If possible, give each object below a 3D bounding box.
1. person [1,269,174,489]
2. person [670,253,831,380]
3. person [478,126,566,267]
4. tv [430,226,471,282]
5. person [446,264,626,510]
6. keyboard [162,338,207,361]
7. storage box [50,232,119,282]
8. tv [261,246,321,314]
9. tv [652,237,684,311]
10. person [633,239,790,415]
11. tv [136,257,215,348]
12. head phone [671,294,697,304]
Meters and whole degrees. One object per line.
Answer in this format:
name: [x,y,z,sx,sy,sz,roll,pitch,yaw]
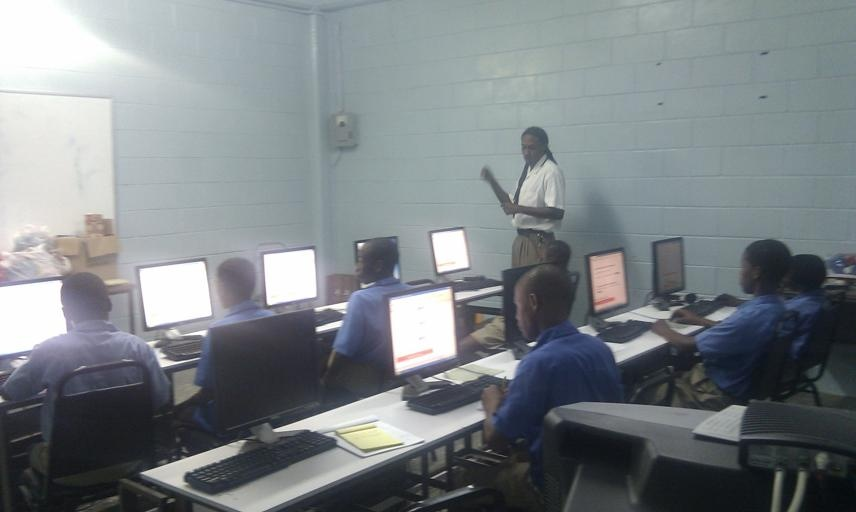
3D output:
person: [-1.941,0.681,3.182,0.822,1.132,0.530,-9,10,-26]
person: [2.125,0.394,4.020,0.591,0.838,0.916,-8,4,-37]
person: [0.973,-0.548,5.363,0.675,1.339,0.745,-7,9,-15]
tv: [0.287,-0.042,5.697,0.187,0.487,0.537,-10,2,-40]
person: [0.595,0.666,2.865,0.747,1.227,0.631,-6,9,-10]
keyboard: [-1.660,0.643,3.844,0.297,0.064,0.289,-6,10,-41]
storage box: [-3.355,-0.033,5.467,0.451,0.404,0.620,4,4,30]
tv: [-1.141,0.176,4.753,0.568,0.492,0.059,-8,-7,19]
tv: [2.037,0.160,4.802,0.211,0.586,0.509,5,19,43]
person: [2.093,0.688,4.050,0.839,1.653,0.867,-18,21,-38]
tv: [-1.874,0.348,4.184,0.826,0.685,0.069,-6,2,-34]
head phone: [2.212,0.373,4.899,0.130,0.050,0.155,-2,4,-31]
